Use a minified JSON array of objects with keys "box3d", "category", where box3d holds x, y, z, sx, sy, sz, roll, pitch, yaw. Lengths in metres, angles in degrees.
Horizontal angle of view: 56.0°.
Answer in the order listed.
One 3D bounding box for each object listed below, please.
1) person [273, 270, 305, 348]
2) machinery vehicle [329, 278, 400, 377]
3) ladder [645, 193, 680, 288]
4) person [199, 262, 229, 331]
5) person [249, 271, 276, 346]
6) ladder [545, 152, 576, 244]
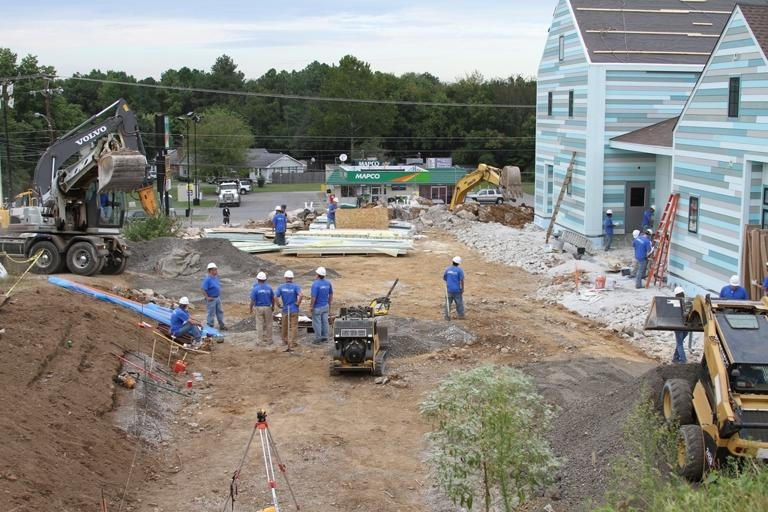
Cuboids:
[{"box3d":[-2.696,1.462,20.406,0.673,2.178,1.113,-3,13,-8],"category":"person"},{"box3d":[-0.603,2.148,19.222,1.300,1.601,2.138,1,12,6],"category":"machinery vehicle"},{"box3d":[9.488,-0.463,24.559,0.924,3.011,1.164,2,-5,-2],"category":"ladder"},{"box3d":[-5.504,1.376,23.302,0.823,2.653,1.029,20,34,30],"category":"person"},{"box3d":[-3.451,1.469,20.435,0.794,2.023,0.584,2,-3,-45],"category":"person"},{"box3d":[7.860,-2.625,32.431,1.073,4.165,2.079,-1,13,0],"category":"ladder"}]
